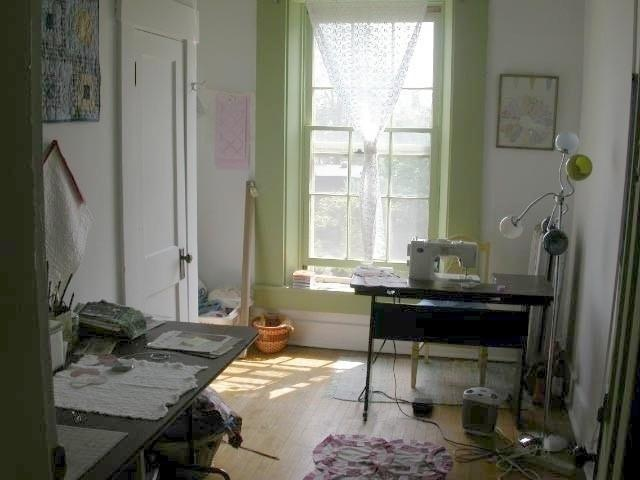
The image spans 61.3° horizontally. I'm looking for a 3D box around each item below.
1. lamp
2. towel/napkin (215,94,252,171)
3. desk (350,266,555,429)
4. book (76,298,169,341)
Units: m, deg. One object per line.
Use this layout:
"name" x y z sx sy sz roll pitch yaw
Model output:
"lamp" 1.573 0.216 3.862 0.608 2.196 0.492 -11 39 6
"towel/napkin" -0.795 -0.954 4.751 0.344 0.673 0.050 -10 25 -34
"desk" 0.892 0.758 3.660 1.263 0.985 0.732 -1 7 20
"book" -0.949 0.351 2.471 0.203 0.066 0.191 14 10 -16
